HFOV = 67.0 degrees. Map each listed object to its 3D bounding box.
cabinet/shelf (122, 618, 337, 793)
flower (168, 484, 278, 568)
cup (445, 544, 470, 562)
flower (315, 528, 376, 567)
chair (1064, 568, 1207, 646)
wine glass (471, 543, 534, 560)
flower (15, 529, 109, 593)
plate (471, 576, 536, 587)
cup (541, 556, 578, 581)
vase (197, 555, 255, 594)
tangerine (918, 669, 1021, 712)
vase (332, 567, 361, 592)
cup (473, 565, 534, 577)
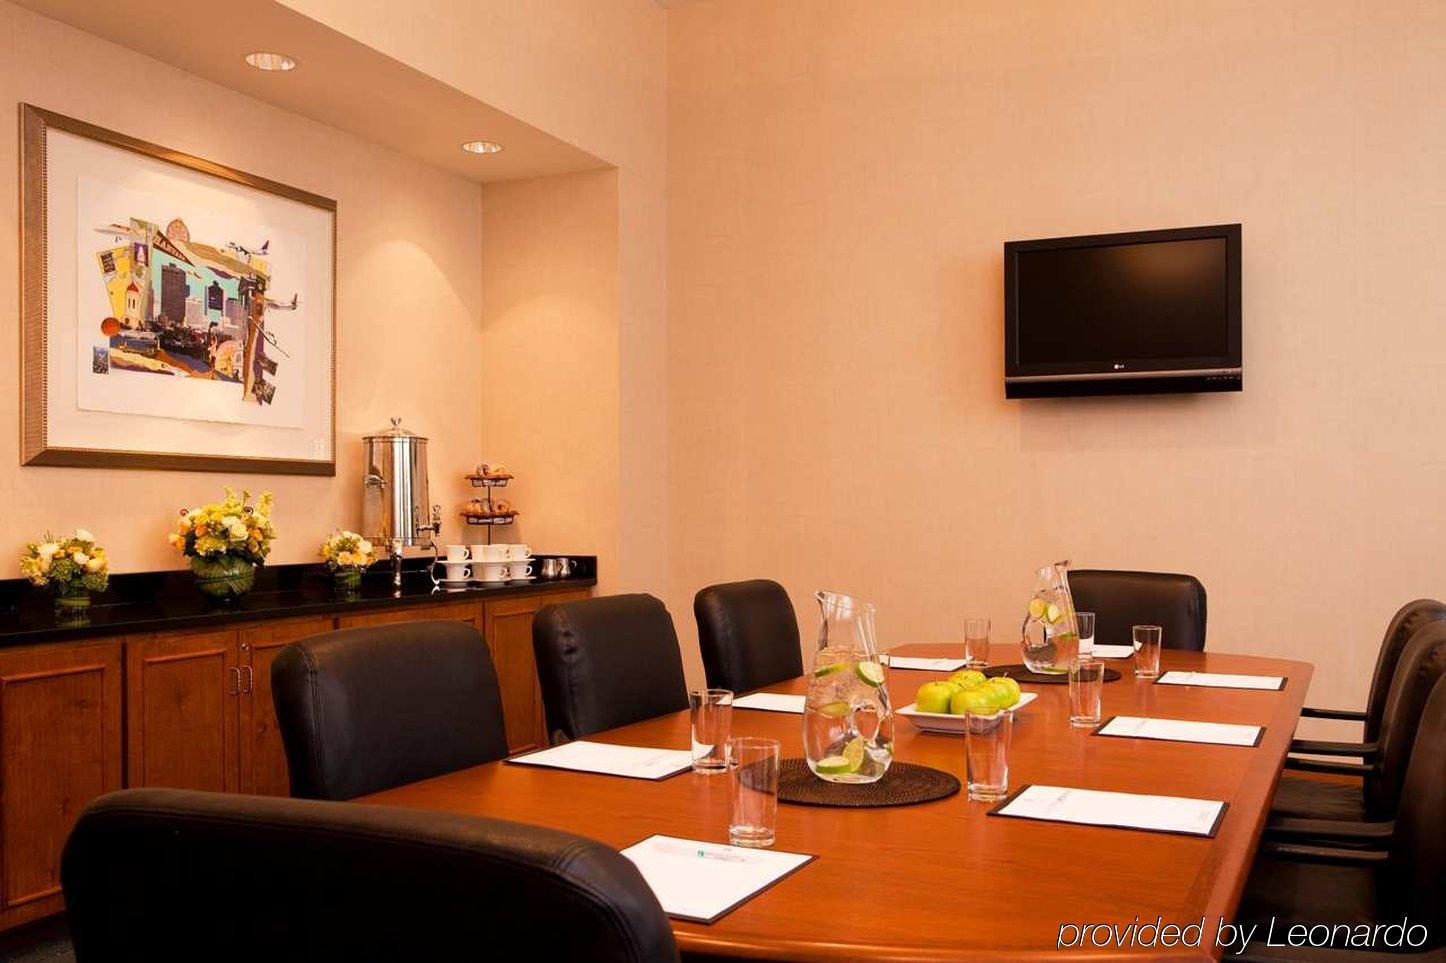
[{"bbox_3d":[-1.623,0.720,3.509,0.292,0.681,0.760,-5,-6,34],"label":"cabinet/shelf"},{"bbox_3d":[-2.008,0.193,4.428,0.303,0.291,0.295,-2,2,18],"label":"flower"},{"bbox_3d":[-1.278,0.342,5.266,0.102,0.073,0.080,0,-2,7],"label":"cup"},{"bbox_3d":[-1.719,0.299,4.963,0.181,0.125,0.178,0,-4,-4],"label":"flower"},{"bbox_3d":[1.623,0.555,4.343,0.372,0.483,0.399,-3,-13,27],"label":"chair"},{"bbox_3d":[-1.089,0.351,5.347,0.266,0.079,0.093,-3,2,-21],"label":"wine glass"},{"bbox_3d":[-2.374,0.311,4.022,0.272,0.237,0.265,11,-3,17],"label":"flower"},{"bbox_3d":[-1.071,0.482,5.311,0.306,0.039,0.218,-3,2,-20],"label":"plate"},{"bbox_3d":[-0.869,0.447,5.761,0.098,0.073,0.155,-3,-9,18],"label":"cup"},{"bbox_3d":[-1.974,0.373,4.366,0.156,0.112,0.156,-1,-4,19],"label":"vase"},{"bbox_3d":[0.595,0.524,2.721,0.158,0.062,0.158,-6,-1,34],"label":"tangerine"},{"bbox_3d":[-1.703,0.440,4.959,0.111,0.113,0.118,0,2,-11],"label":"vase"},{"bbox_3d":[-1.091,0.447,5.359,0.106,0.053,0.141,-6,-13,23],"label":"cup"}]
